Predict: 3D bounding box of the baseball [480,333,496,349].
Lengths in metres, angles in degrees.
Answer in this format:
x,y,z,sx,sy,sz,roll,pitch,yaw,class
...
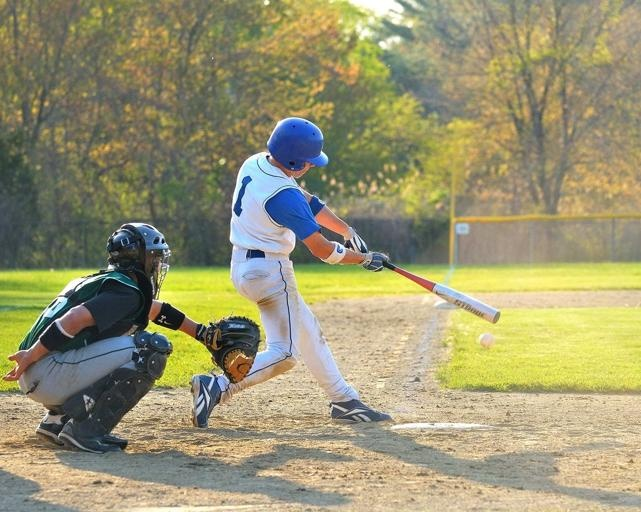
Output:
x,y,z,sx,sy,sz,roll,pitch,yaw,class
1.882,0.973,14.224,0.178,0.150,0.167,3,10,-23,baseball

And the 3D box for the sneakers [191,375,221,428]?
x,y,z,sx,sy,sz,roll,pitch,yaw,class
-1.032,1.281,11.180,0.305,0.526,0.192,3,-2,-5,sneakers

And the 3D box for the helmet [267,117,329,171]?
x,y,z,sx,sy,sz,roll,pitch,yaw,class
-0.214,-1.007,11.334,0.591,0.308,0.409,2,40,-14,helmet

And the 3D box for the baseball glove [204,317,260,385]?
x,y,z,sx,sy,sz,roll,pitch,yaw,class
-0.749,0.847,11.012,0.490,0.550,0.288,-3,1,4,baseball glove
